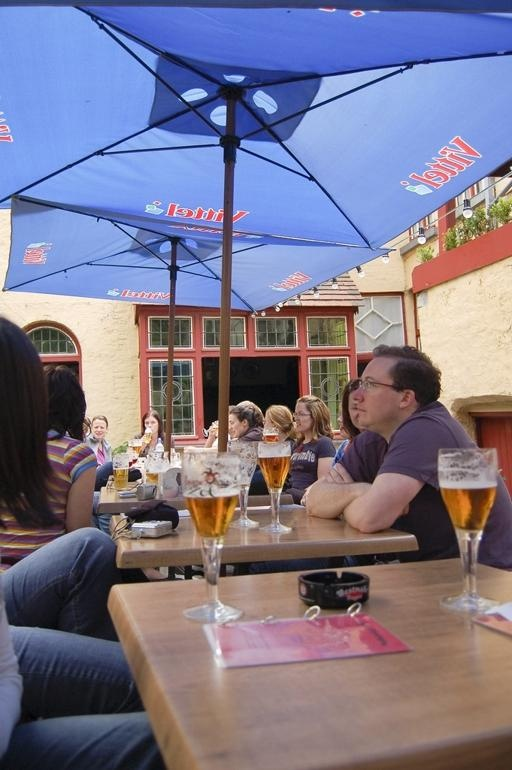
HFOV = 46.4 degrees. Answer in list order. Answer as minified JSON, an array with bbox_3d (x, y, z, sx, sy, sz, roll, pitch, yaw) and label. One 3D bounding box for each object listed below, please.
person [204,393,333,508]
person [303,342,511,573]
[{"bbox_3d":[0.116,0.520,5.408,1.424,0.945,0.744,1,-12,-9],"label":"person"},{"bbox_3d":[0.550,0.322,2.469,0.868,1.076,0.696,3,-17,-2],"label":"person"}]
